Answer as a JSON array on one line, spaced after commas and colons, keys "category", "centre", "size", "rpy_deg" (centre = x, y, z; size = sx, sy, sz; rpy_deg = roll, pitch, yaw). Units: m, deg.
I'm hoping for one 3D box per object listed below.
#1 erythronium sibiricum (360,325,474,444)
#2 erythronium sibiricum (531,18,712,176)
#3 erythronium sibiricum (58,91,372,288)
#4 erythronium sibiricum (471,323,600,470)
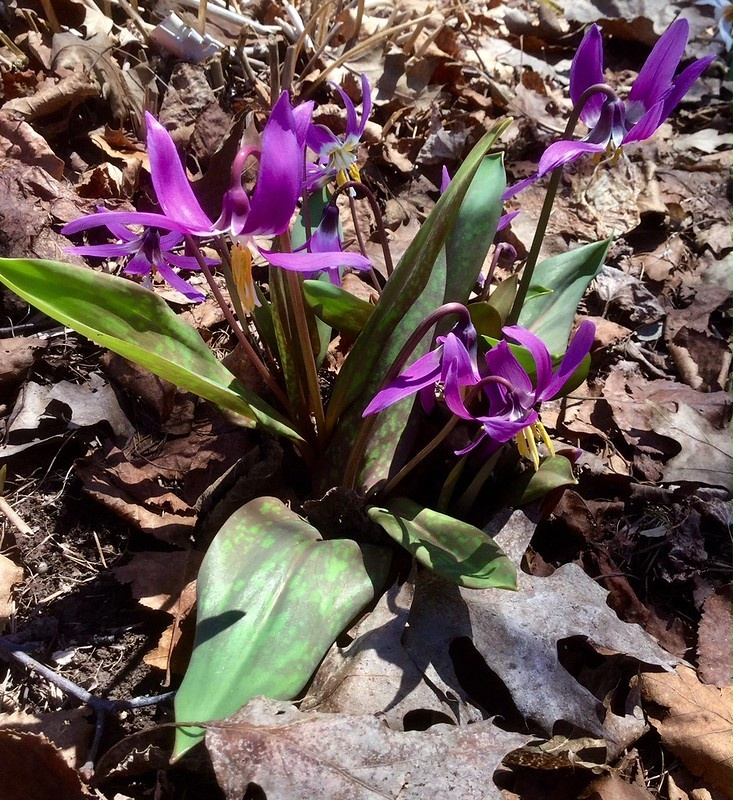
[{"category": "erythronium sibiricum", "centre": [0.146, -0.047, 1.384], "size": [0.300, 0.151, 0.132], "rpy_deg": [-13, 38, -41]}, {"category": "erythronium sibiricum", "centre": [0.514, -0.605, 1.508], "size": [0.340, 0.192, 0.342], "rpy_deg": [12, 54, 25]}, {"category": "erythronium sibiricum", "centre": [-0.254, -0.378, 1.295], "size": [0.427, 0.178, 0.420], "rpy_deg": [24, 38, 21]}, {"category": "erythronium sibiricum", "centre": [0.324, -0.004, 1.452], "size": [0.303, 0.258, 0.251], "rpy_deg": [-5, 7, 33]}]
